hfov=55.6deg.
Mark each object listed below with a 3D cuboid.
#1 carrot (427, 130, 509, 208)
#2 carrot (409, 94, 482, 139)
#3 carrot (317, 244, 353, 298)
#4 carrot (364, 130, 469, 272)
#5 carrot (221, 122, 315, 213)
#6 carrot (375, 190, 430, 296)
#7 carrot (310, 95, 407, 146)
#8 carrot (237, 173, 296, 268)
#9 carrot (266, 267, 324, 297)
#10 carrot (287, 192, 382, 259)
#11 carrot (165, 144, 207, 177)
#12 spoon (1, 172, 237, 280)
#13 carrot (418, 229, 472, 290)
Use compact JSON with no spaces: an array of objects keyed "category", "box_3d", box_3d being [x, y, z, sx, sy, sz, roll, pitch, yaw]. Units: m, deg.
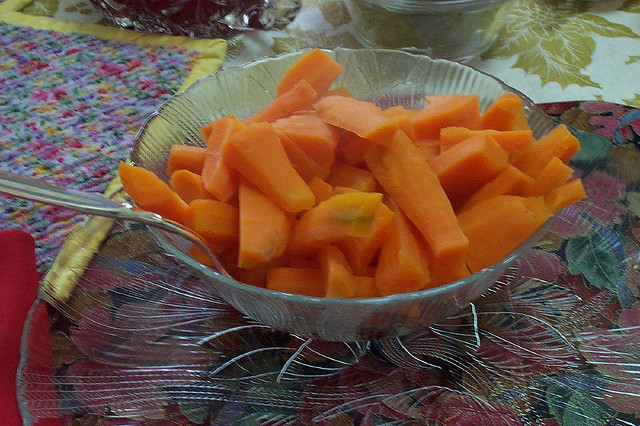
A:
[{"category":"carrot","box_3d":[0.304,-0.086,1.222,0.097,0.133,0.071,57,23,-8]},{"category":"carrot","box_3d":[0.278,-0.217,1.367,0.165,0.058,0.178,-16,13,-3]},{"category":"carrot","box_3d":[0.038,0.108,1.183,0.079,0.046,0.145,-2,28,-8]},{"category":"carrot","box_3d":[0.193,-0.039,1.248,0.110,0.083,0.352,-33,76,-4]},{"category":"carrot","box_3d":[-0.099,-0.092,1.270,0.129,0.073,0.220,-41,84,-16]},{"category":"carrot","box_3d":[0.149,0.070,1.198,0.084,0.102,0.157,-15,63,-15]},{"category":"carrot","box_3d":[0.069,-0.204,1.248,0.154,0.039,0.115,31,45,27]},{"category":"carrot","box_3d":[-0.108,0.007,1.216,0.145,0.070,0.228,6,44,-21]},{"category":"carrot","box_3d":[-0.015,0.135,1.196,0.095,0.191,0.044,11,79,-40]},{"category":"carrot","box_3d":[0.031,0.017,1.160,0.169,0.062,0.113,-29,55,19]},{"category":"carrot","box_3d":[-0.282,-0.115,1.293,0.095,0.060,0.062,7,46,-1]},{"category":"spoon","box_3d":[-0.417,0.038,1.287,0.503,0.061,0.093,20,44,-18]},{"category":"carrot","box_3d":[0.239,0.091,1.156,0.098,0.034,0.107,-13,95,2]}]
